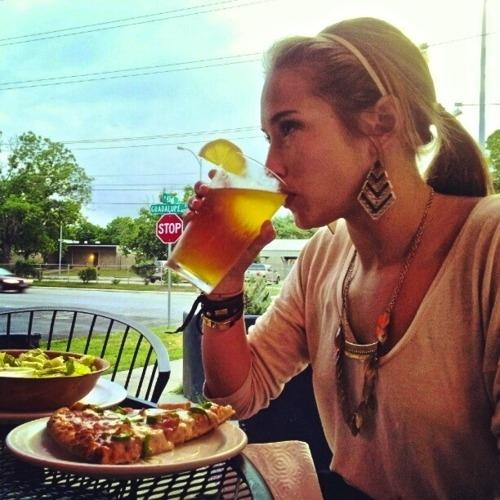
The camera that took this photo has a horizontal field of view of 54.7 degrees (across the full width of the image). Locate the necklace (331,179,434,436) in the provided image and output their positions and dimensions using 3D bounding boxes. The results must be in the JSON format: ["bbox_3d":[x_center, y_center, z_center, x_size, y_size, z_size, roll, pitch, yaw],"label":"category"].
[{"bbox_3d":[0.273,0.125,1.237,0.247,0.562,0.282,6,3,11],"label":"necklace"}]

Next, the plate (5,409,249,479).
[{"bbox_3d":[-0.212,0.330,0.836,0.405,0.035,0.265,6,-1,5],"label":"plate"}]

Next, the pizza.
[{"bbox_3d":[-0.194,0.324,0.917,0.345,0.054,0.280,3,-6,-36],"label":"pizza"}]

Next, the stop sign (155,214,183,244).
[{"bbox_3d":[-1.207,-0.349,7.309,0.490,0.481,0.043,-2,-7,20],"label":"stop sign"}]
